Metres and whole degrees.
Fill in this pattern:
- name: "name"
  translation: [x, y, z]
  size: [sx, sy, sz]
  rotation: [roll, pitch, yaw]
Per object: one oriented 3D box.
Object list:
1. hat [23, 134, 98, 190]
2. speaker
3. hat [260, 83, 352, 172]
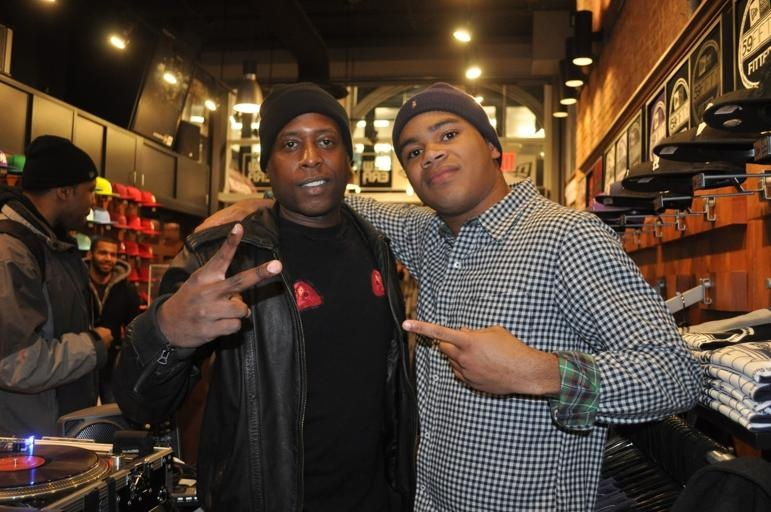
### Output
- name: "hat"
  translation: [-2.137, -0.554, 4.134]
  size: [0.329, 0.336, 0.449]
  rotation: [-22, -21, 36]
- name: "speaker"
  translation: [-1.158, 0.778, 2.823]
  size: [0.401, 0.228, 0.336]
  rotation: [-5, 22, -34]
- name: "hat"
  translation: [-0.359, -0.564, 3.134]
  size: [0.350, 0.285, 0.358]
  rotation: [3, -17, -22]
